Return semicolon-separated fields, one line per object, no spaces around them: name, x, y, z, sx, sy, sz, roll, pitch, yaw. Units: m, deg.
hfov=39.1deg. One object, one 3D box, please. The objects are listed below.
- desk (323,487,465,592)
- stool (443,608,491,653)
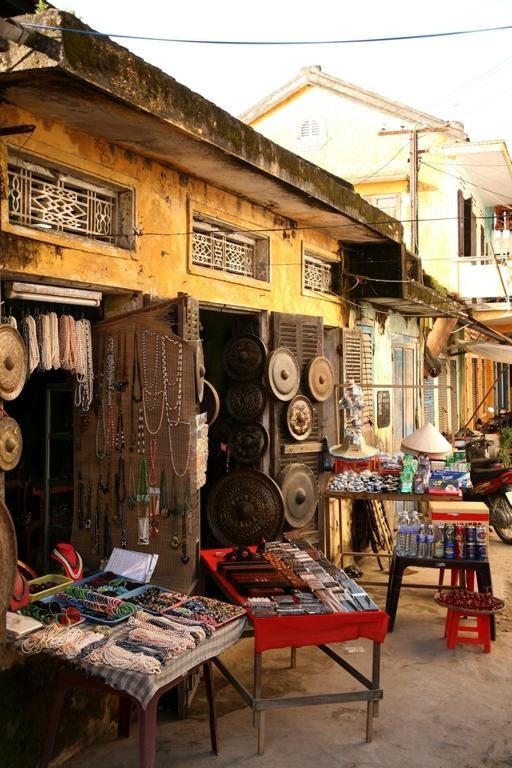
desk;1.021;1.414;6.949;1.396;1.050;1.915;2;4;14
stool;1.614;1.821;5.464;0.363;0.370;0.381;1;0;2
